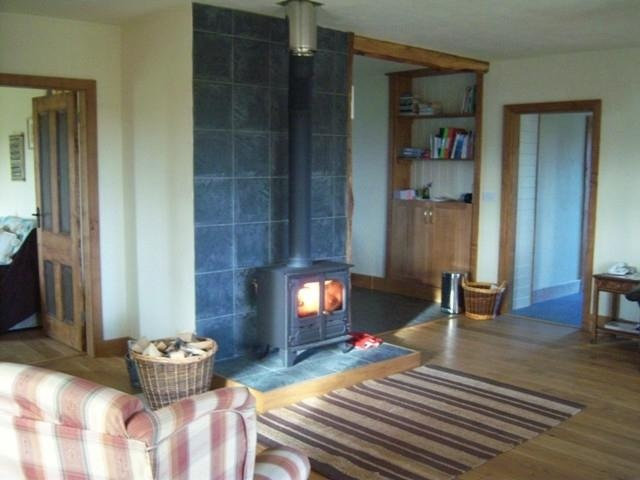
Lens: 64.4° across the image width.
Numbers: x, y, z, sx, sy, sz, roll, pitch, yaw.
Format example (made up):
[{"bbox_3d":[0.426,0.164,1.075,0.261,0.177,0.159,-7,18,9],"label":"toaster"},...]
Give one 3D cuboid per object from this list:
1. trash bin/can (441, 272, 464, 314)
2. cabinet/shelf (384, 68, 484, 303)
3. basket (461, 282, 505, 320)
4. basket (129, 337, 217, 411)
[{"bbox_3d":[1.741,0.706,6.685,0.286,0.528,0.229,3,10,13],"label":"trash bin/can"},{"bbox_3d":[1.631,-0.800,7.309,1.542,3.280,0.552,10,14,41],"label":"cabinet/shelf"},{"bbox_3d":[2.154,0.794,6.568,0.516,0.377,0.508,0,3,-41],"label":"basket"},{"bbox_3d":[-1.078,0.954,3.843,0.628,0.384,0.582,-2,-3,-1],"label":"basket"}]
